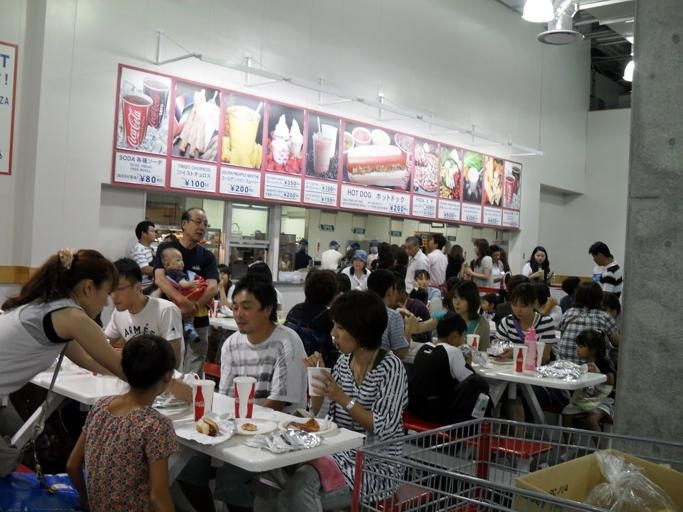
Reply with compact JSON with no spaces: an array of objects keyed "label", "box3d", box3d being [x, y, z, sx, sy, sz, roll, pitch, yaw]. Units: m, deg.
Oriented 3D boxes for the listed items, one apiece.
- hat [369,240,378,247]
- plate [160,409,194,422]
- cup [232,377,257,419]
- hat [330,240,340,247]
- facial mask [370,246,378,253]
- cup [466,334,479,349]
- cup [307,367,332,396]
[{"label":"hat","box3d":[0.609,-0.224,9.334,0.112,0.086,0.117,3,0,-12]},{"label":"plate","box3d":[-0.785,0.779,2.392,0.104,0.026,0.100,2,-1,25]},{"label":"cup","box3d":[-0.462,0.667,2.348,0.093,0.203,0.132,3,5,-12]},{"label":"hat","box3d":[-0.128,-0.212,8.642,0.099,0.088,0.145,4,15,23]},{"label":"facial mask","box3d":[0.612,-0.115,9.108,0.129,0.110,0.163,26,-17,-35]},{"label":"cup","box3d":[1.130,0.723,4.183,0.119,0.139,0.127,2,-9,0]},{"label":"cup","box3d":[-0.106,0.573,2.307,0.113,0.100,0.122,3,-1,0]}]
